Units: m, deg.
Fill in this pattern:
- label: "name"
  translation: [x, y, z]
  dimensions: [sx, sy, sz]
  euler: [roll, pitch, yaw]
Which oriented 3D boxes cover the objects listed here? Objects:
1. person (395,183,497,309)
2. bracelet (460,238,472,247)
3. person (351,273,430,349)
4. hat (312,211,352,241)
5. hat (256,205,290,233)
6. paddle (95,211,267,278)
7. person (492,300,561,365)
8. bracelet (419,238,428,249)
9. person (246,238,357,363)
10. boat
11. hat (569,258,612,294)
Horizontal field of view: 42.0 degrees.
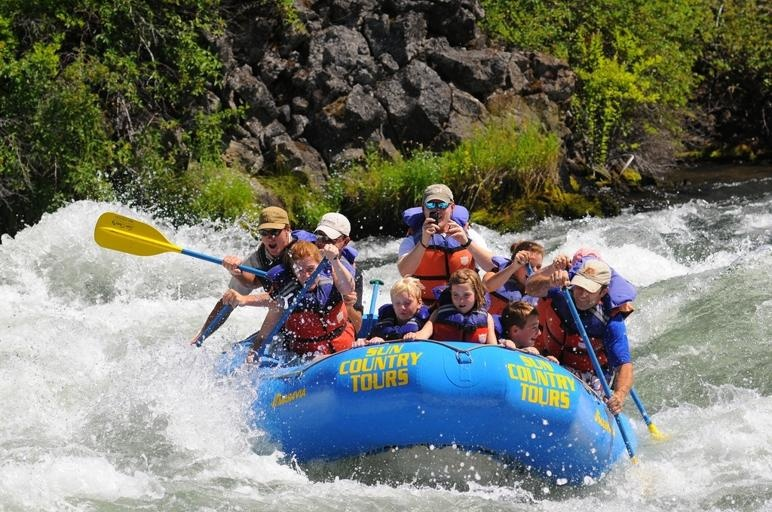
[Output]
- label: "person"
  translation: [0.854, 0.149, 13.365]
  dimensions: [1.054, 2.176, 0.948]
  euler: [2, 41, 12]
- label: "bracelet"
  translation: [1.017, -0.169, 12.970]
  dimensions: [0.106, 0.032, 0.112]
  euler: [-45, 2, 0]
- label: "person"
  translation: [0.118, 0.776, 12.023]
  dimensions: [0.791, 0.888, 1.168]
  euler: [1, 8, 15]
- label: "hat"
  translation: [-0.636, -0.350, 12.531]
  dimensions: [0.446, 0.388, 0.258]
  euler: [-29, 31, -35]
- label: "hat"
  translation: [-1.444, -0.483, 12.720]
  dimensions: [0.373, 0.286, 0.267]
  euler: [-11, 25, -3]
- label: "paddle"
  translation: [-3.066, -0.137, 14.874]
  dimensions: [2.722, 0.534, 0.129]
  euler: [18, 15, 6]
- label: "person"
  translation: [1.687, 0.919, 12.402]
  dimensions: [0.660, 0.817, 0.686]
  euler: [-5, 20, -11]
- label: "bracelet"
  translation: [0.478, -0.168, 12.929]
  dimensions: [0.081, 0.170, 0.094]
  euler: [-6, 25, 6]
- label: "person"
  translation: [-1.011, 0.562, 12.451]
  dimensions: [0.961, 1.826, 0.699]
  euler: [-9, 31, -8]
- label: "boat"
  translation: [0.633, 1.801, 11.736]
  dimensions: [2.717, 2.059, 0.910]
  euler: [10, 66, 15]
- label: "hat"
  translation: [2.445, 0.232, 11.970]
  dimensions: [0.513, 0.330, 0.285]
  euler: [-24, 29, -28]
